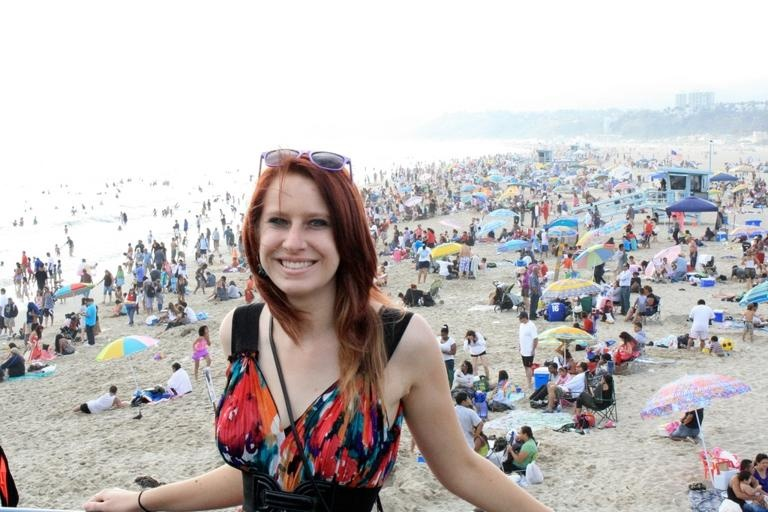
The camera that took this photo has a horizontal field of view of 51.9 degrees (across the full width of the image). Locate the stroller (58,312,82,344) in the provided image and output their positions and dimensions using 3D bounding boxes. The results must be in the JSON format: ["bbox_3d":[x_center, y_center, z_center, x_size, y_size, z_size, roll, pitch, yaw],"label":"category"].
[{"bbox_3d":[-11.192,2.549,28.330,0.679,0.917,1.528,-5,5,-22],"label":"stroller"}]

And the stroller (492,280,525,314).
[{"bbox_3d":[4.329,1.416,27.322,1.122,1.028,0.788,5,3,17],"label":"stroller"}]

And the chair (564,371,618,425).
[{"bbox_3d":[5.147,3.530,19.404,0.992,1.180,0.558,-2,5,2],"label":"chair"}]

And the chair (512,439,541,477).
[{"bbox_3d":[3.205,4.529,17.851,0.669,0.836,0.723,3,-11,41],"label":"chair"}]
